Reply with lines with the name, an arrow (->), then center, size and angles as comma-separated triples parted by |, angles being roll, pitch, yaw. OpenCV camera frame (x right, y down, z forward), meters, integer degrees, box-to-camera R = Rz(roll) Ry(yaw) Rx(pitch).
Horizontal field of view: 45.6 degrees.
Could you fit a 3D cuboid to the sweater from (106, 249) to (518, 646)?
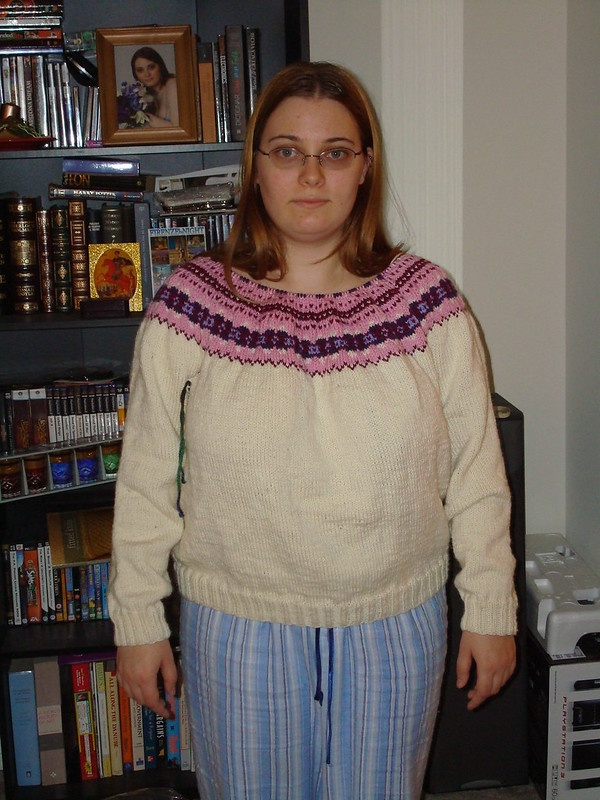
sweater -> 0.016, 0.073, 1.006 | 0.587, 0.486, 0.322 | -1, 10, -3
